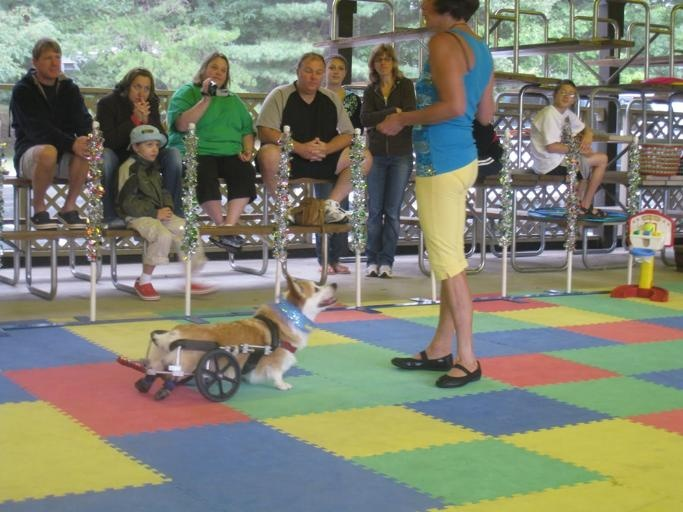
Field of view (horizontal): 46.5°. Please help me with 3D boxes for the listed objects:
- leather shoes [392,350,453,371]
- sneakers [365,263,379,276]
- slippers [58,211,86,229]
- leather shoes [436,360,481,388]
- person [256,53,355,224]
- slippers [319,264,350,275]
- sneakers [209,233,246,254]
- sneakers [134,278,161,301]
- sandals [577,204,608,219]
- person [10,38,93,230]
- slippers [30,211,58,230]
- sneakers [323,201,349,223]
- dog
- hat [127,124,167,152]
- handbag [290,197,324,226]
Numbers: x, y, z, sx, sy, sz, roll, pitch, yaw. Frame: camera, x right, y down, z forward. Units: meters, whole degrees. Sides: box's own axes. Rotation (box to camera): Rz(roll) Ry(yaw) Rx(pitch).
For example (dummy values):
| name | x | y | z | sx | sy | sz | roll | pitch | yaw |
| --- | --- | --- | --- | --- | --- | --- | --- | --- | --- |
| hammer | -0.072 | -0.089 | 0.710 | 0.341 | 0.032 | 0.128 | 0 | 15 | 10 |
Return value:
| name | x | y | z | sx | sy | sz | roll | pitch | yaw |
| --- | --- | --- | --- | --- | --- | --- | --- | --- | --- |
| leather shoes | 0.472 | 0.597 | 4.579 | 0.349 | 0.104 | 0.121 | 3 | -5 | -5 |
| sneakers | 0.305 | 0.132 | 7.732 | 0.124 | 0.094 | 0.245 | 1 | 5 | -1 |
| slippers | -2.061 | -0.290 | 6.171 | 0.352 | 0.121 | 0.160 | 7 | 8 | 44 |
| leather shoes | 0.631 | 0.644 | 4.281 | 0.251 | 0.077 | 0.110 | -1 | -1 | -32 |
| person | -0.273 | -1.078 | 6.640 | 0.896 | 1.252 | 0.698 | -2 | 11 | -15 |
| slippers | -0.065 | 0.131 | 7.891 | 0.344 | 0.103 | 0.109 | 5 | -3 | -28 |
| sneakers | -0.941 | -0.104 | 6.578 | 0.228 | 0.074 | 0.138 | 11 | 31 | -26 |
| sneakers | -1.526 | 0.268 | 6.273 | 0.109 | 0.092 | 0.262 | -3 | 10 | -39 |
| sandals | 2.504 | -0.445 | 7.864 | 0.440 | 0.099 | 0.148 | -2 | 10 | -22 |
| person | -2.246 | -0.965 | 6.206 | 0.611 | 1.474 | 0.839 | -3 | 12 | -20 |
| slippers | -2.273 | -0.276 | 6.139 | 0.183 | 0.142 | 0.234 | -8 | 13 | -42 |
| sneakers | -0.038 | -0.355 | 6.281 | 0.195 | 0.171 | 0.242 | 1 | 10 | -1 |
| dog | -0.490 | 0.431 | 4.137 | 0.975 | 0.462 | 0.441 | -8 | 2 | -14 |
| hat | -1.524 | -0.925 | 6.145 | 0.197 | 0.076 | 0.227 | 2 | -13 | -42 |
| handbag | -0.258 | -0.346 | 6.063 | 0.279 | 0.215 | 0.179 | 3 | -2 | -4 |
